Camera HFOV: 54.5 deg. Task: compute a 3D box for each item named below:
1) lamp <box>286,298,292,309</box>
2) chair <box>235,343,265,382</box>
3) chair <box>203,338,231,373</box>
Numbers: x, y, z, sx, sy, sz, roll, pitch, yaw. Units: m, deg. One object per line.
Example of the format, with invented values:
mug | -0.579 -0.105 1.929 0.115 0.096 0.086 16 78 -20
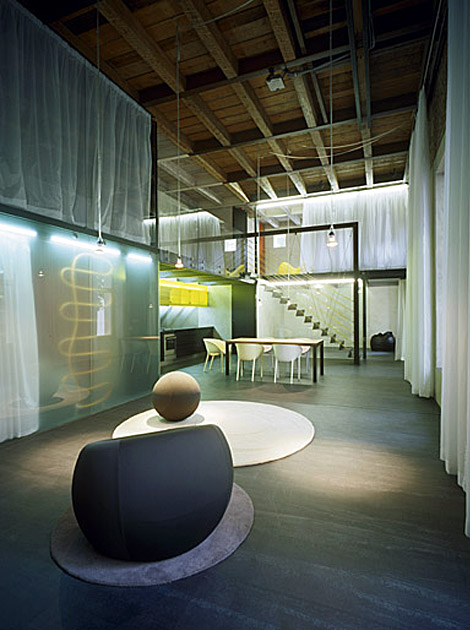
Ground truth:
lamp | 1.176 -0.255 9.937 0.053 0.234 0.151 -4 7 -36
chair | 0.230 0.705 7.506 0.445 0.649 0.469 -2 13 -9
chair | -0.431 0.809 8.654 0.520 0.806 0.662 -2 1 13
